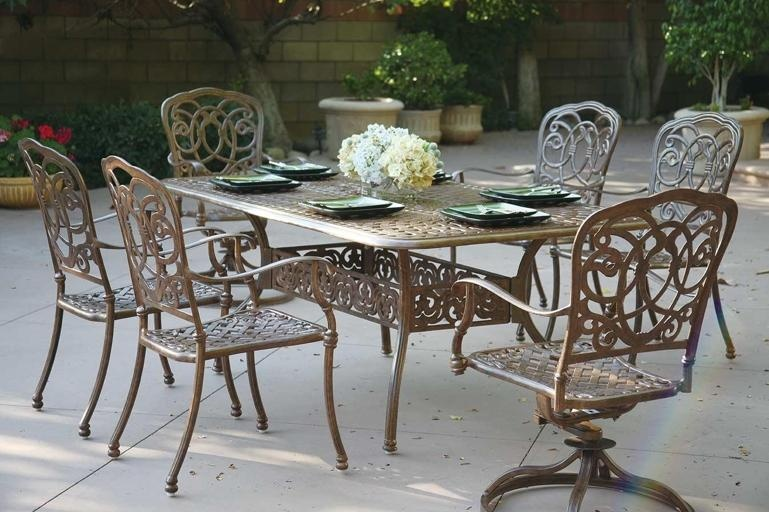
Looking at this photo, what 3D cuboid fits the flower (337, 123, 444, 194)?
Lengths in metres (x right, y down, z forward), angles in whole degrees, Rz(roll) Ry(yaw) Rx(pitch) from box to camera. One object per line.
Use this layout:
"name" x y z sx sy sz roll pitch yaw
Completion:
"flower" 0.033 -0.538 5.104 0.468 0.354 0.399 -3 15 -18

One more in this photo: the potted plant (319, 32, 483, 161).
"potted plant" 0.018 -2.428 13.462 2.025 1.928 2.198 -4 9 -31
